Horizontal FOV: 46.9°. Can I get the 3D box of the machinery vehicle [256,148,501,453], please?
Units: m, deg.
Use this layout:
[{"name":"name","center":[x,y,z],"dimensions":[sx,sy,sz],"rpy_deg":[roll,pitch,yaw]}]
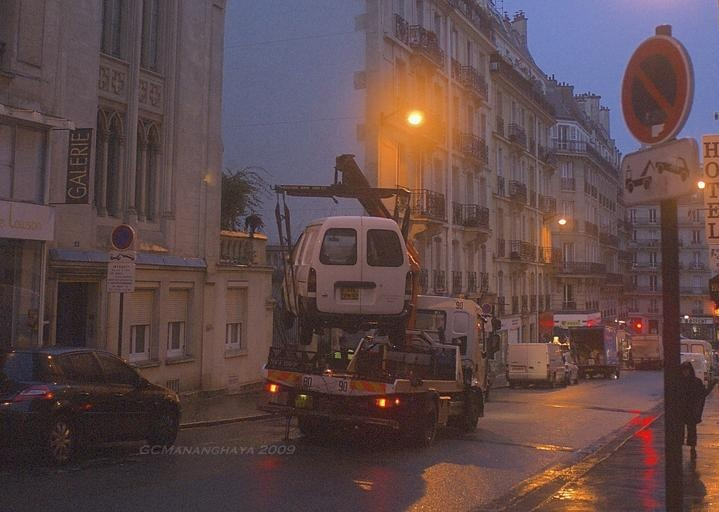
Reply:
[{"name":"machinery vehicle","center":[0.083,1.625,21.378],"dimensions":[3.777,6.569,8.994],"rpy_deg":[-1,-4,16]}]
